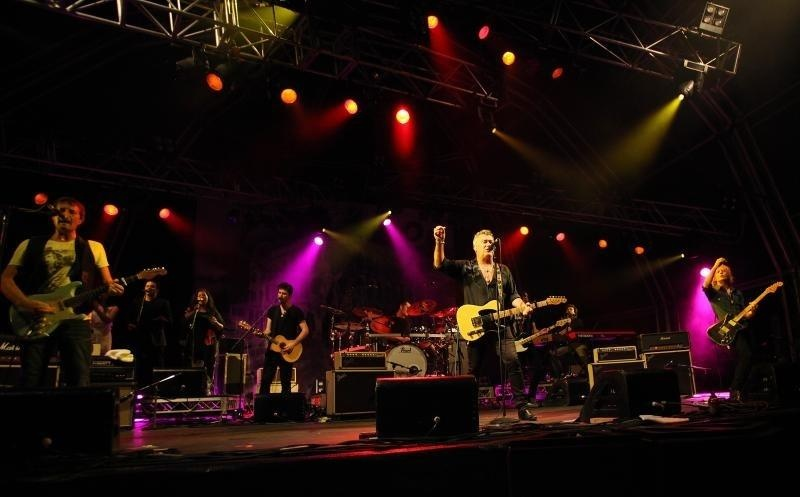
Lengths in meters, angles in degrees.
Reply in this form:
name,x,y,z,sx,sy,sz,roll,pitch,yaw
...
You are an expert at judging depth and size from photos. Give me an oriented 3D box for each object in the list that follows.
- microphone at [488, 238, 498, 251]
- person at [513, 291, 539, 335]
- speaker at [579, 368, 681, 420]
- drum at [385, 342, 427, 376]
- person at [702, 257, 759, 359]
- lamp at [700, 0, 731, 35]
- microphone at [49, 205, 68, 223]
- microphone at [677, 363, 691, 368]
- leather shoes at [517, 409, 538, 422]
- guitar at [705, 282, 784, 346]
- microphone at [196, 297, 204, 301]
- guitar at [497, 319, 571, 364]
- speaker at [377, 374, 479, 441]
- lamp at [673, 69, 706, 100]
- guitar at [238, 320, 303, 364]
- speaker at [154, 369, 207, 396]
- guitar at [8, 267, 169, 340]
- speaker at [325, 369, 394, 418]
name,x,y,z,sx,sy,sz,roll,pitch,yaw
microphone,1.354,-0.063,9.658,0.139,0.177,0.153,-2,-28,11
person,2.265,1.217,11.862,0.173,0.501,1.363,9,4,14
speaker,3.140,1.948,8.756,0.878,0.600,0.882,4,-17,-16
drum,0.097,2.272,13.242,0.545,0.559,0.282,6,-19,3
person,5.810,1.046,11.812,0.854,1.864,0.258,0,-17,12
lamp,5.890,-4.356,12.312,0.553,0.597,0.151,12,8,3
microphone,-4.509,-0.472,8.704,0.248,0.255,0.157,10,15,29
microphone,5.551,2.286,12.786,0.238,0.103,0.404,-8,-19,20
leather shoes,1.814,2.392,9.352,0.115,0.219,0.349,8,-27,-28
guitar,6.991,1.332,13.142,0.567,1.881,0.210,41,-8,18
microphone,-4.038,1.019,13.123,0.069,0.024,0.102,25,11,41
guitar,2.478,1.713,11.946,1.481,0.489,0.134,-29,-2,-26
speaker,0.328,1.811,8.525,1.098,0.653,0.781,-1,7,1
lamp,5.920,-3.496,13.336,0.484,0.390,0.778,-13,7,36
guitar,-2.506,1.590,12.016,1.577,0.639,0.226,22,5,22
speaker,-4.069,2.465,11.966,1.028,0.583,0.651,1,5,-12
guitar,-4.760,0.882,9.967,1.598,0.522,0.228,-23,-2,-33
speaker,-0.727,2.447,10.892,1.165,0.863,0.678,5,-15,-23
